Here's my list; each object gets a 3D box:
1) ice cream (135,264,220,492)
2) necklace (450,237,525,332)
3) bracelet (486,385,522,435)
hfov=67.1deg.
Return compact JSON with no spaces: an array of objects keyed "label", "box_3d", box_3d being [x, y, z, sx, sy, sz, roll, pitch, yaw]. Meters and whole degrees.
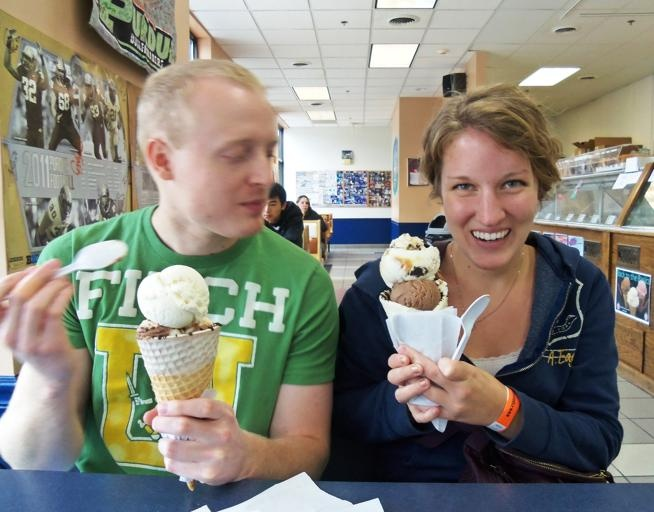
[{"label":"ice cream","box_3d":[-0.402,0.225,1.334,0.208,0.383,0.120,-2,12,-20]},{"label":"necklace","box_3d":[0.592,0.112,1.787,0.347,0.322,0.087,1,6,15]},{"label":"bracelet","box_3d":[0.557,0.475,1.546,0.058,0.132,0.118,28,-16,-21]}]
